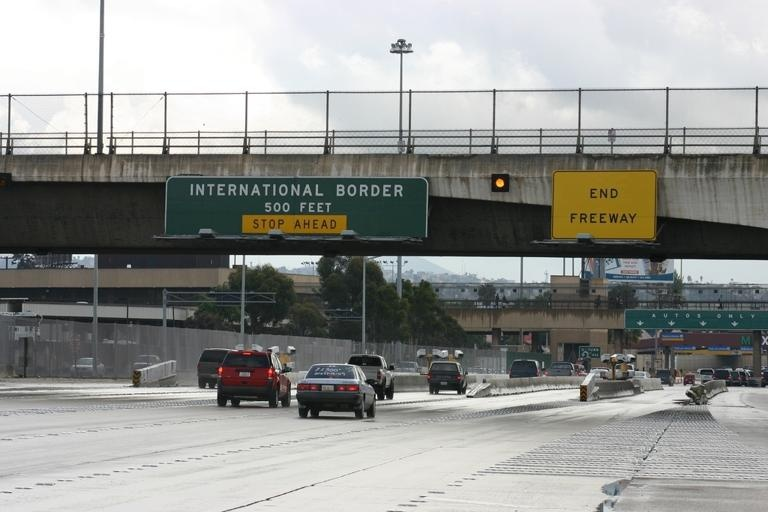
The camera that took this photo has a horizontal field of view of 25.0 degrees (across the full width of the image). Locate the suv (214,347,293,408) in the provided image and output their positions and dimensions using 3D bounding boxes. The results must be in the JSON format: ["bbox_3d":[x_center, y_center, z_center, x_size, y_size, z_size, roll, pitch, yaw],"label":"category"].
[{"bbox_3d":[-6.190,5.851,86.468,2.155,1.677,3.975,0,-1,8],"label":"suv"}]

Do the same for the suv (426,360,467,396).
[{"bbox_3d":[3.978,7.471,107.272,2.282,2.110,2.182,-1,-5,1],"label":"suv"}]

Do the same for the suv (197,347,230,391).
[{"bbox_3d":[-10.204,6.520,102.387,1.820,1.900,3.338,1,3,12],"label":"suv"}]
